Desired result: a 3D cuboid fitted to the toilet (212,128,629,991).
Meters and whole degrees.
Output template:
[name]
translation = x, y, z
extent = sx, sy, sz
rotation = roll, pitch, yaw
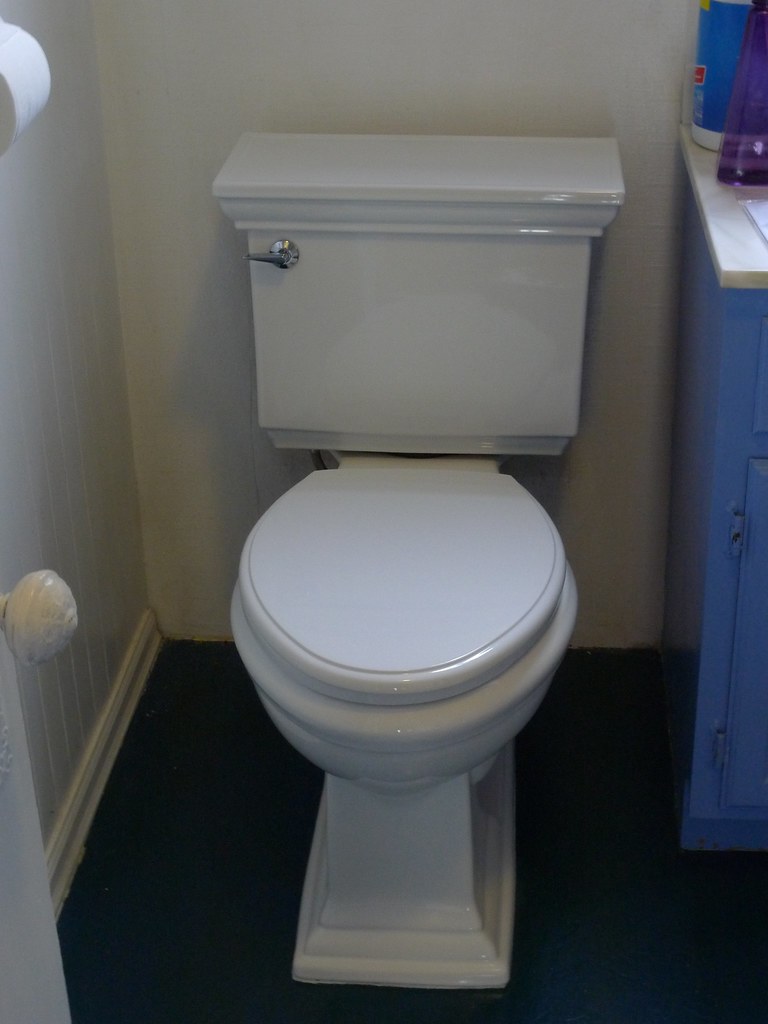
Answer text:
[toilet]
translation = 0.026, 0.060, 1.086
extent = 0.378, 0.863, 0.665
rotation = 3, 29, 6
